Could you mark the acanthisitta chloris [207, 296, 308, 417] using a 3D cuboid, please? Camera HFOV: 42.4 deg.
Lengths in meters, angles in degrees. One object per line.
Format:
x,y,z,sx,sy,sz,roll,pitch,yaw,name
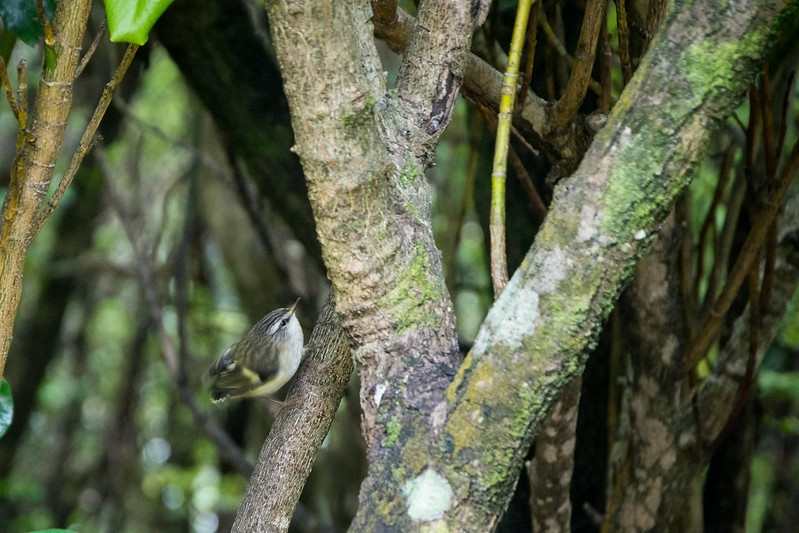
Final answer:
-0.851,0.570,6.200,0.637,0.599,0.418,-27,-4,1,acanthisitta chloris
